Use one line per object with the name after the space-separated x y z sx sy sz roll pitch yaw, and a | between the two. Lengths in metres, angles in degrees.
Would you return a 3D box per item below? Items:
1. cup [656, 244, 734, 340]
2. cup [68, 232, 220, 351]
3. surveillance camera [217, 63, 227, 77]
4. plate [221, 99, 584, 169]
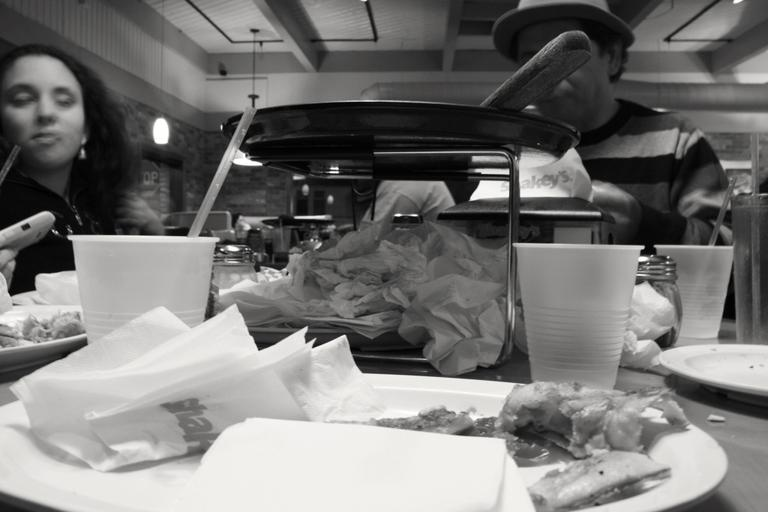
0.588 0.074 1.193 0.181 0.197 0.182 -1 -2 0 | cup
-0.322 0.051 0.788 0.164 0.113 0.152 1 -4 0 | cup
-2.301 -2.655 8.119 0.126 0.162 0.109 4 1 -40 | surveillance camera
0.033 -0.175 0.922 0.535 0.089 0.364 4 -1 16 | plate
